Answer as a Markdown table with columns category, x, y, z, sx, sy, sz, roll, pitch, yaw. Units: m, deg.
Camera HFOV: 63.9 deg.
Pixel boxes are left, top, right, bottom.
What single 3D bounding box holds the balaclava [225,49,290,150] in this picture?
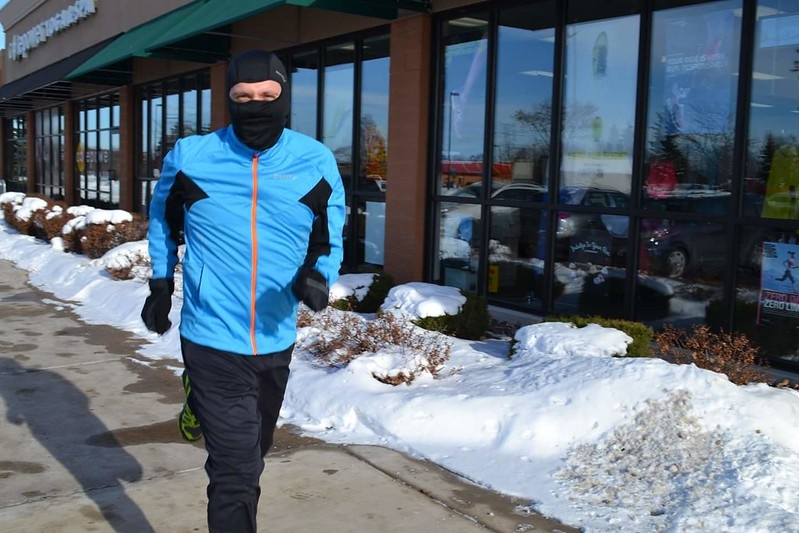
| category | x | y | z | sx | sy | sz | roll | pitch | yaw |
| --- | --- | --- | --- | --- | --- | --- | --- | --- | --- |
| balaclava | -0.817 | -0.951 | 3.677 | 0.346 | 0.564 | 0.216 | -2 | 14 | -11 |

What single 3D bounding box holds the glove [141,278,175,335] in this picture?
| category | x | y | z | sx | sy | sz | roll | pitch | yaw |
| --- | --- | --- | --- | --- | --- | --- | --- | --- | --- |
| glove | -1.414 | 0.229 | 3.798 | 0.307 | 0.283 | 0.095 | 2 | -4 | 17 |

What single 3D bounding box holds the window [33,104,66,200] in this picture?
| category | x | y | z | sx | sy | sz | roll | pitch | yaw |
| --- | --- | --- | --- | --- | --- | --- | --- | --- | --- |
| window | -14.897 | -4.924 | 27.310 | 0.148 | 5.391 | 6.600 | -1 | 4 | -40 |

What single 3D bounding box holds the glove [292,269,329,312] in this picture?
| category | x | y | z | sx | sy | sz | roll | pitch | yaw |
| --- | --- | --- | --- | --- | --- | --- | --- | --- | --- |
| glove | -0.484 | 0.119 | 3.449 | 0.107 | 0.240 | 0.196 | -39 | -46 | 23 |
